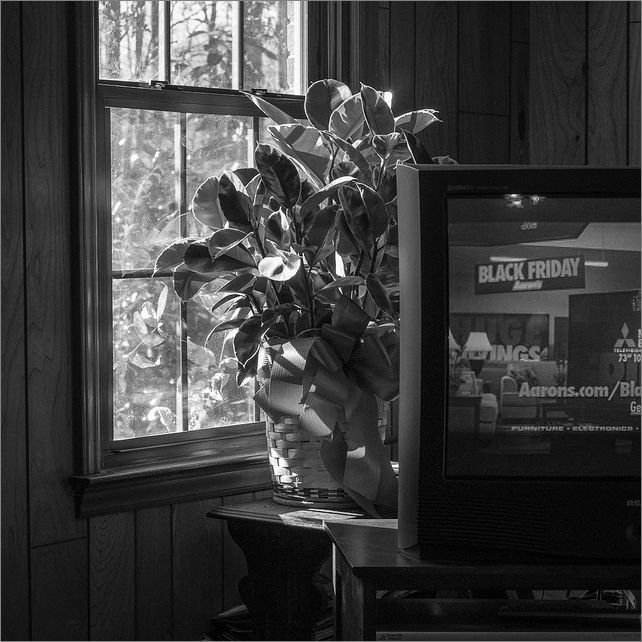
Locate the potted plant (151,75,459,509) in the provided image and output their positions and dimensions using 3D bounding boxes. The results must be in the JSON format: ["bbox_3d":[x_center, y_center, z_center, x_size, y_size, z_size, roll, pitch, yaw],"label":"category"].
[{"bbox_3d":[-0.013,-0.074,2.089,0.677,1.129,0.747,0,3,29],"label":"potted plant"}]

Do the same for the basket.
[{"bbox_3d":[-0.003,0.253,1.677,0.199,0.183,0.196,2,-2,-3],"label":"basket"}]
